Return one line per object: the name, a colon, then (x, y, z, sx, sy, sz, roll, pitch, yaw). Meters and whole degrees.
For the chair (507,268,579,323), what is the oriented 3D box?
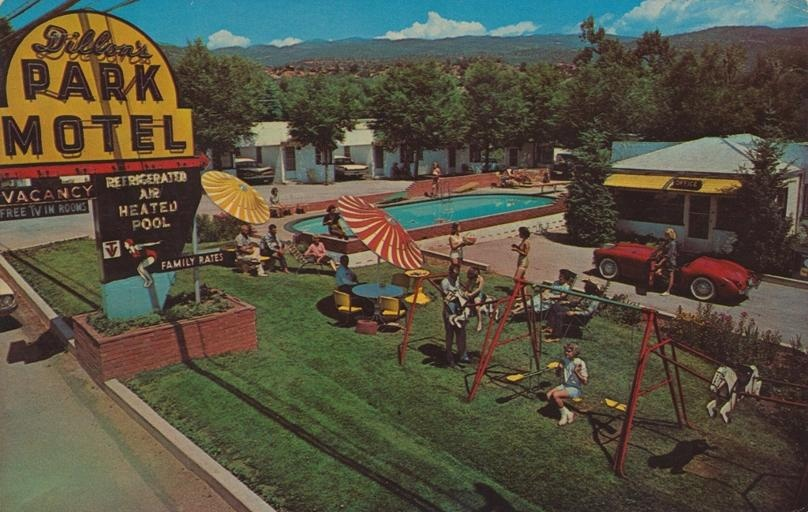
chair: (4.466, 1.247, 17.260, 2.417, 0.902, 1.398, -19, 45, -13)

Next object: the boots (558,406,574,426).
boots: (3.931, 3.835, 13.562, 0.438, 0.371, 0.380, 0, 13, 4)

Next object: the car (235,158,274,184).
car: (-13.972, -7.674, 50.703, 3.923, 1.622, 2.263, 16, 19, 40)

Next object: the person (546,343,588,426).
person: (4.004, 3.008, 13.767, 0.882, 1.905, 1.285, 3, 14, 16)

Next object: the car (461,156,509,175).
car: (8.101, -9.282, 57.348, 4.445, 1.446, 3.241, -2, 12, -3)

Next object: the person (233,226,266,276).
person: (-5.773, -0.239, 21.100, 1.138, 1.841, 0.783, 3, 15, 17)

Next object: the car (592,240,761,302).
car: (9.446, 0.474, 20.222, 5.213, 1.114, 2.408, 12, 20, 34)

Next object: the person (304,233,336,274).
person: (-3.030, -0.070, 21.556, 1.856, 0.998, 0.781, 25, 33, 37)

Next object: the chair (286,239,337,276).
chair: (-3.498, 0.007, 21.712, 2.058, 1.066, 0.920, 4, 9, 0)

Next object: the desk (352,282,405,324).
desk: (-0.818, 1.423, 17.724, 1.475, 0.754, 1.250, 5, 31, 5)

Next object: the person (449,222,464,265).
person: (1.891, -0.403, 20.494, 0.803, 0.751, 2.105, -1, -27, 6)

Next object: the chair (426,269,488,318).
chair: (1.476, 1.146, 15.607, 1.563, 1.579, 0.837, -1, -4, -42)

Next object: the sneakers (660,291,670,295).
sneakers: (9.176, 1.308, 19.783, 0.131, 0.117, 0.312, -11, 10, -37)

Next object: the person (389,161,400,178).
person: (-0.835, -8.410, 54.713, 1.024, 1.280, 2.639, -1, 12, 0)

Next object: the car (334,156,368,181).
car: (-5.005, -8.293, 53.180, 3.107, 2.064, 3.717, -2, 12, -5)

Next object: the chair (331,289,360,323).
chair: (-1.695, 1.566, 17.303, 0.702, 0.978, 0.728, 8, 13, 26)

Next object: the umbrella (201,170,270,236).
umbrella: (-6.336, -2.130, 21.139, 2.159, 2.074, 1.650, -1, 13, -1)

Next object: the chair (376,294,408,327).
chair: (-0.369, 1.573, 17.328, 0.952, 1.128, 0.948, 4, 32, 11)
